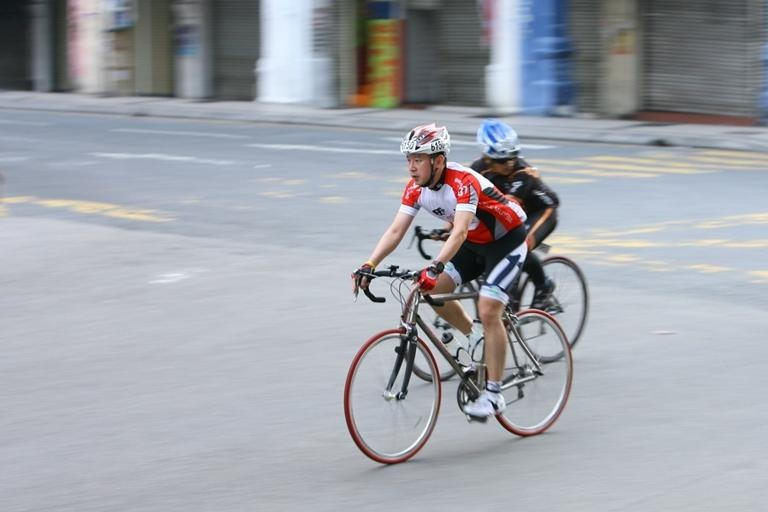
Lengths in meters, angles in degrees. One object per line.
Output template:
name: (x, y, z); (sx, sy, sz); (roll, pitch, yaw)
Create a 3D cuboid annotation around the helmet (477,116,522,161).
helmet: (0.912, -0.981, 9.385); (0.376, 0.314, 0.478); (-19, 23, -33)

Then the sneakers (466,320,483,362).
sneakers: (0.718, 0.665, 8.513); (0.142, 0.273, 0.133); (-1, 5, 12)

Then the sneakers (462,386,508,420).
sneakers: (0.749, 1.095, 8.212); (0.345, 0.134, 0.186); (-5, 10, -44)

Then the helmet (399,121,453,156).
helmet: (0.292, -0.859, 8.044); (0.354, 0.154, 0.237); (-14, 29, -29)

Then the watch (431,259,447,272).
watch: (0.386, 0.073, 7.901); (0.083, 0.071, 0.092); (3, -1, -13)
